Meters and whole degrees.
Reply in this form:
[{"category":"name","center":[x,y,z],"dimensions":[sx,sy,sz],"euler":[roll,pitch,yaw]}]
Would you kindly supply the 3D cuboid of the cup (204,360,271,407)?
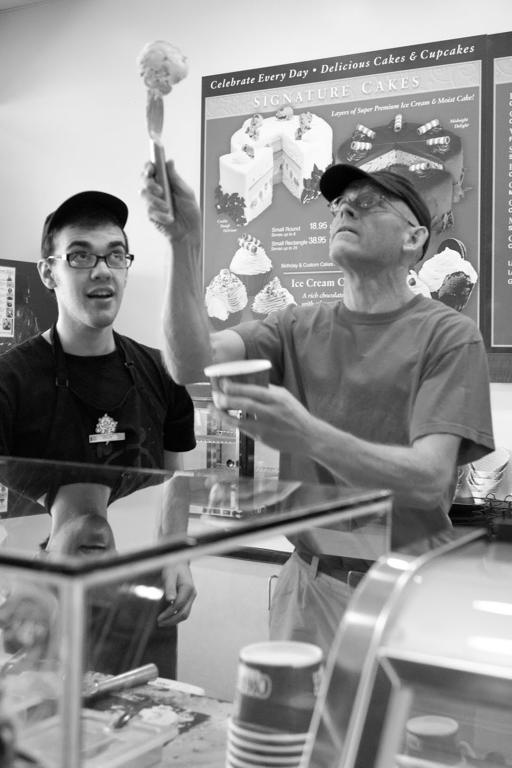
[{"category":"cup","center":[-0.026,0.000,0.885],"dimensions":[0.081,0.058,0.148],"euler":[3,0,0]}]
